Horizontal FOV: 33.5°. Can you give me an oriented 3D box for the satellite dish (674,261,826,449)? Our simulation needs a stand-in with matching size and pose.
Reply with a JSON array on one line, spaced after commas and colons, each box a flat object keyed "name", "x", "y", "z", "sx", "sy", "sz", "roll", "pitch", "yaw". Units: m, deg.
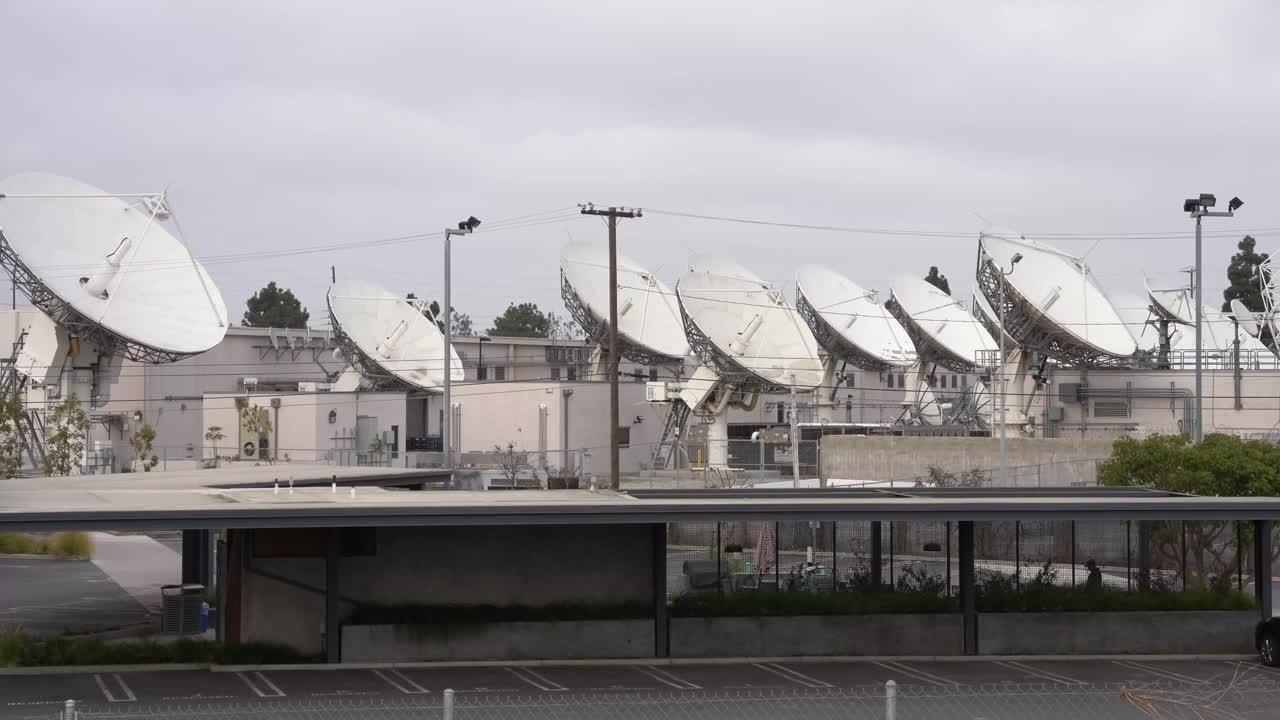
[{"name": "satellite dish", "x": 7.381, "y": -2.919, "z": 141.602, "sx": 10.343, "sy": 10.672, "sz": 6.994, "roll": 11, "pitch": -48, "yaw": 13}]

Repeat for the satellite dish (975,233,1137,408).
[{"name": "satellite dish", "x": 27.591, "y": -2.014, "z": 142.123, "sx": 11.510, "sy": 9.653, "sz": 7.402, "roll": 6, "pitch": -44, "yaw": -38}]
